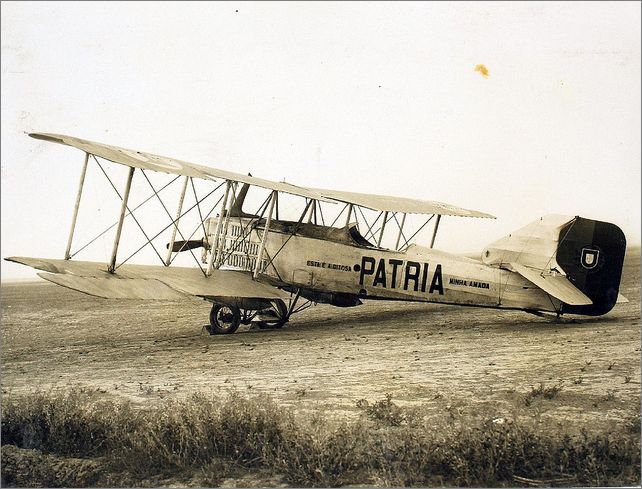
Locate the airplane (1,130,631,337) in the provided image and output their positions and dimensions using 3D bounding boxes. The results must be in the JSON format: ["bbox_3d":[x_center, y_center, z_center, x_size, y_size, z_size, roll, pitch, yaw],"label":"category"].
[{"bbox_3d":[0.317,0.382,16.325,10.910,3.556,5.093,6,-2,-10],"label":"airplane"}]
